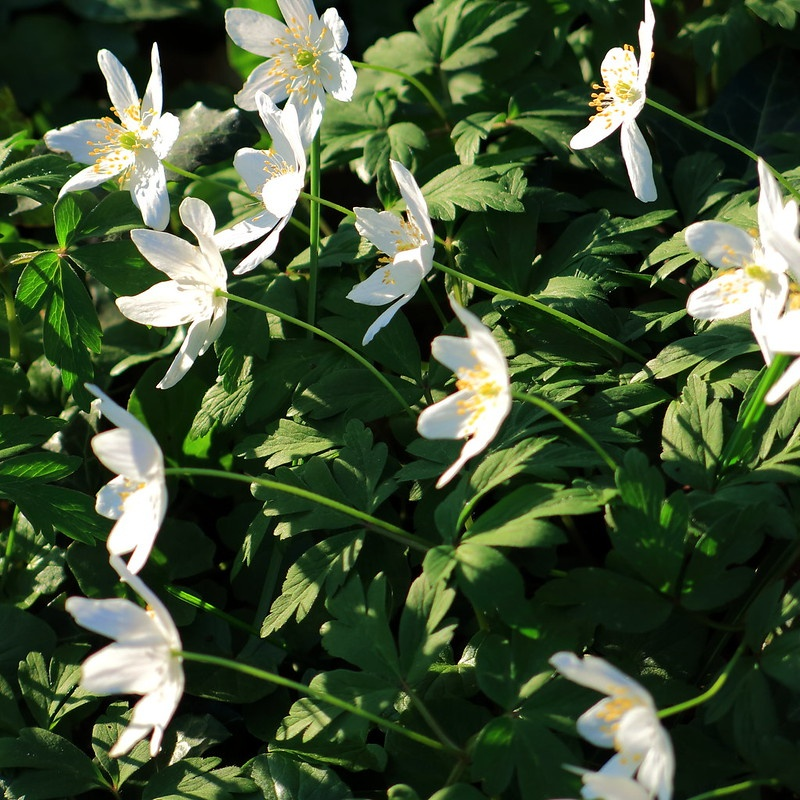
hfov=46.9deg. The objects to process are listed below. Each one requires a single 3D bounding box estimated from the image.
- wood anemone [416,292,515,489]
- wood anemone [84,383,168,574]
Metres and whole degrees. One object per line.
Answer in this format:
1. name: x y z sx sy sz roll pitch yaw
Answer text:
1. wood anemone: 0.129 -0.012 1.553 0.122 0.287 0.225 -3 -3 -31
2. wood anemone: -0.472 0.149 1.631 0.137 0.315 0.328 -9 -6 -17
